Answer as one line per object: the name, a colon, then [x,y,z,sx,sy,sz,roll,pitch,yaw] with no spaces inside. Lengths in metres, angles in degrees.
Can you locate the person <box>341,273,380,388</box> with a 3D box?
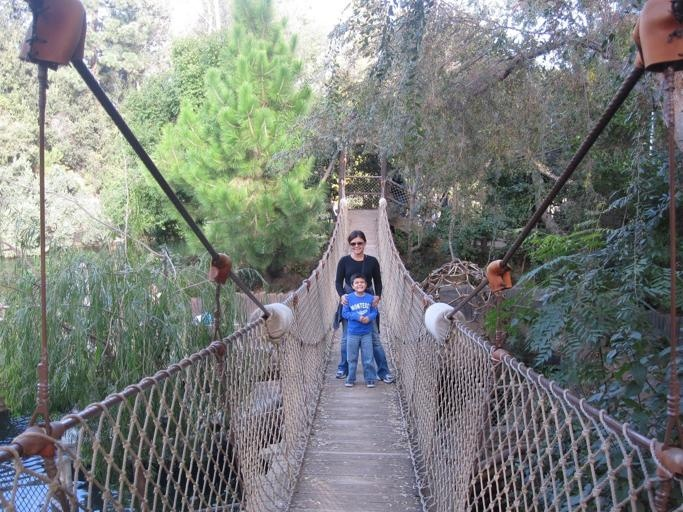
person: [0.140,0.573,4.336,0.289,0.869,0.210,2,10,4]

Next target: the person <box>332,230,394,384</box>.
person: [0.158,0.417,4.370,0.386,1.265,0.388,1,13,17]
